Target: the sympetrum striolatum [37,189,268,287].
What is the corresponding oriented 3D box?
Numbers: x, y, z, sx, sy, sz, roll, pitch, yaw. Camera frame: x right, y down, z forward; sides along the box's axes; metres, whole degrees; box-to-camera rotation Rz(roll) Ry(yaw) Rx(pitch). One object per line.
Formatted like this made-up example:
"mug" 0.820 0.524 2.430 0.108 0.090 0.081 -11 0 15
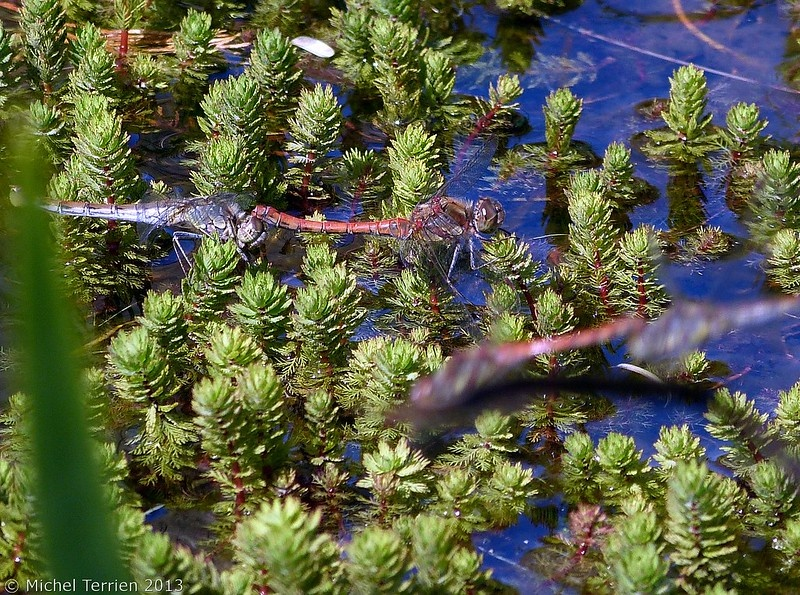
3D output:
"sympetrum striolatum" -1.034 -0.330 4.547 0.622 0.416 0.224 -6 75 35
